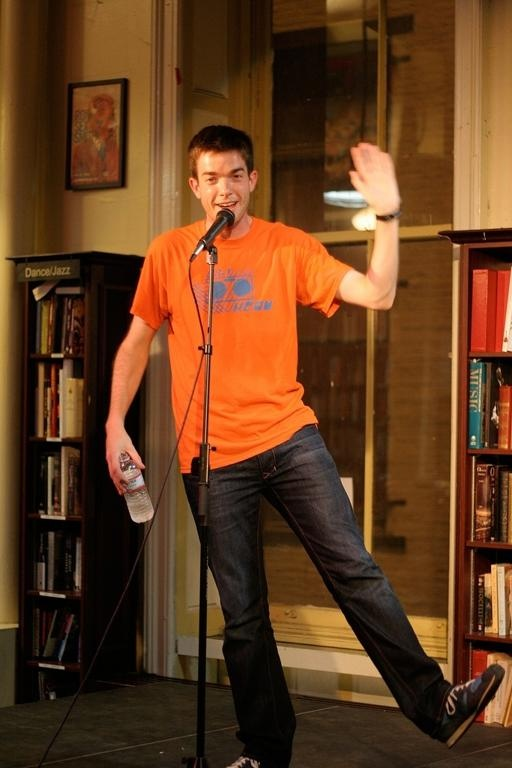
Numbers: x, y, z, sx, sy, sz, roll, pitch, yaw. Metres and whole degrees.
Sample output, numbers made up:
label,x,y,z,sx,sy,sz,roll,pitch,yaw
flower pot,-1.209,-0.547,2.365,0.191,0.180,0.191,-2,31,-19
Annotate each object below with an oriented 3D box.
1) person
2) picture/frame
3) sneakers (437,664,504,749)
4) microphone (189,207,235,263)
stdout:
label,x,y,z,sx,sy,sz,roll,pitch,yaw
person,0.052,0.134,2.381,1.036,1.560,0.400,0,-1,41
picture/frame,-0.754,-1.197,4.687,0.532,0.739,0.049,3,3,39
sneakers,0.478,0.712,2.175,0.141,0.184,0.071,1,0,6
microphone,-0.083,-0.367,2.316,0.053,0.200,0.054,35,-42,0
